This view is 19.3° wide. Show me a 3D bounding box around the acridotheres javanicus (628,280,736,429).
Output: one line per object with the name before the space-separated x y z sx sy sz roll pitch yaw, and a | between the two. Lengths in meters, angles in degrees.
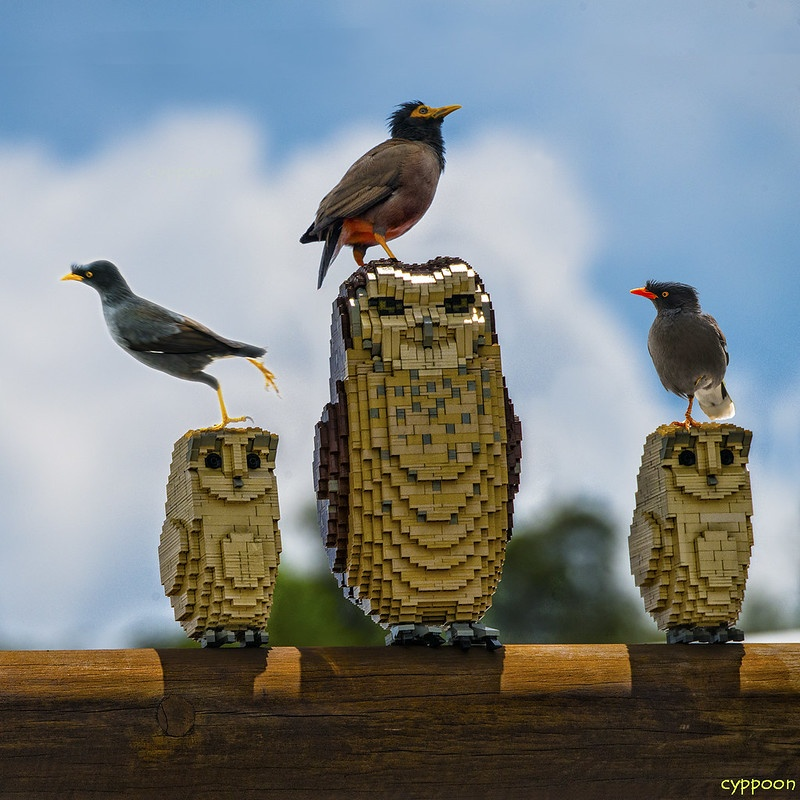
acridotheres javanicus | 1.091 -0.199 8.980 0.507 0.567 0.289 24 -31 -31

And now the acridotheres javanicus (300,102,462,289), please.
acridotheres javanicus | -0.062 -0.863 9.415 0.635 0.677 0.342 -4 -18 1
